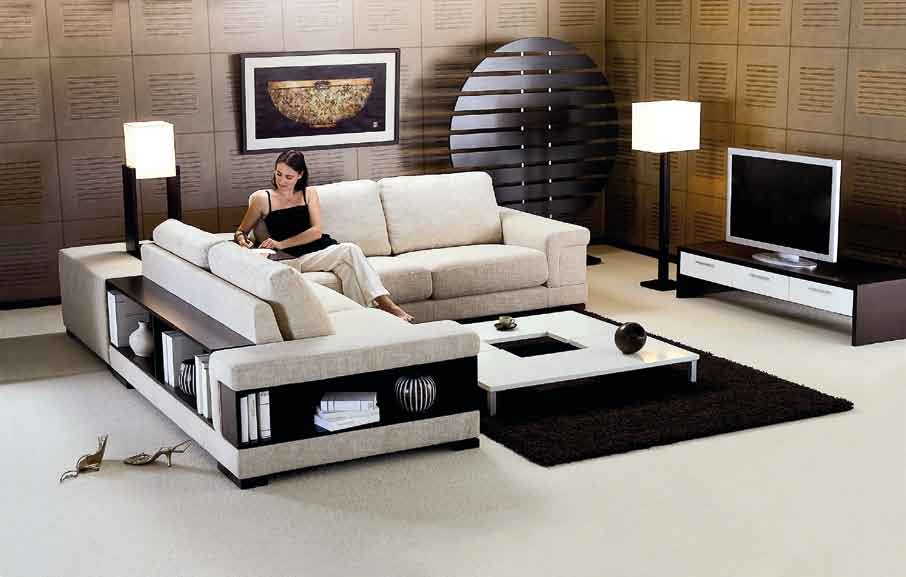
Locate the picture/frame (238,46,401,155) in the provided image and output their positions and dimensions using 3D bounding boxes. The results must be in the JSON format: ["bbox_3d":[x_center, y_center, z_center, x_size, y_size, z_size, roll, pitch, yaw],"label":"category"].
[{"bbox_3d":[-1.439,-1.965,7.292,1.506,0.814,0.036,-5,16,-20],"label":"picture/frame"}]

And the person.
[{"bbox_3d":[-1.080,-0.433,5.966,1.800,1.062,0.832,23,35,32],"label":"person"}]

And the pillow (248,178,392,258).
[{"bbox_3d":[-0.935,-0.697,6.564,0.862,0.774,0.375,-10,8,-21],"label":"pillow"}]

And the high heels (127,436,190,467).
[{"bbox_3d":[-1.732,0.971,4.212,0.347,0.136,0.111,2,11,-7],"label":"high heels"}]

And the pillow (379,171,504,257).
[{"bbox_3d":[-0.118,-0.747,6.744,1.124,0.767,0.255,-9,-6,-21],"label":"pillow"}]

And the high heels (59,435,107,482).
[{"bbox_3d":[-2.134,0.986,4.103,0.127,0.165,0.307,-14,1,36],"label":"high heels"}]

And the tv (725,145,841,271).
[{"bbox_3d":[2.961,-0.703,6.297,0.279,0.815,1.046,-15,23,-31],"label":"tv"}]

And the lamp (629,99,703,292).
[{"bbox_3d":[2.201,-0.992,7.383,0.615,1.841,1.036,6,20,28],"label":"lamp"}]

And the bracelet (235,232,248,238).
[{"bbox_3d":[-1.797,-0.443,6.014,0.048,0.041,0.048,-16,26,-39],"label":"bracelet"}]

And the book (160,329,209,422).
[{"bbox_3d":[-1.650,0.545,4.390,0.236,0.338,0.550,-8,22,-33],"label":"book"}]

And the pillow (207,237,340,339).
[{"bbox_3d":[-1.110,0.013,4.326,0.317,0.467,0.843,-18,22,-40],"label":"pillow"}]

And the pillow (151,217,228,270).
[{"bbox_3d":[-1.934,-0.255,4.977,0.512,0.145,0.259,13,-3,17],"label":"pillow"}]
